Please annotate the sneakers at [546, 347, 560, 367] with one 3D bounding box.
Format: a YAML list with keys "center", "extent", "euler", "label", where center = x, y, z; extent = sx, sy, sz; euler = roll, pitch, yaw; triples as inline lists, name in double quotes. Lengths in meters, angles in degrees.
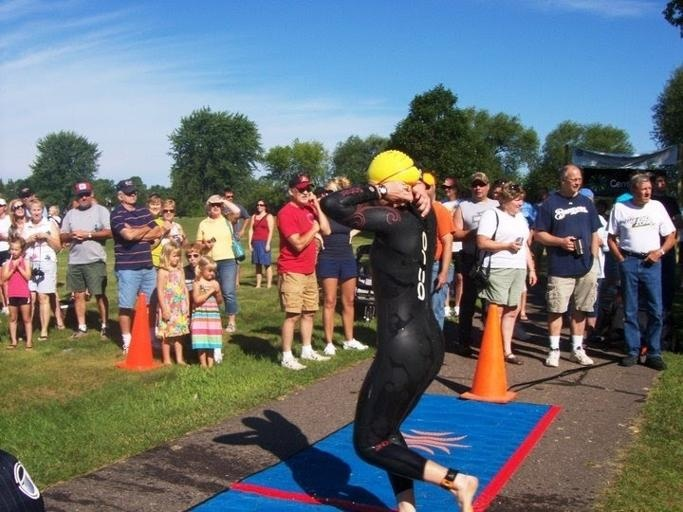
- center: [2.749, 1.297, 8.872]
  extent: [0.170, 0.224, 0.363]
  euler: [2, 9, 16]
  label: "sneakers"

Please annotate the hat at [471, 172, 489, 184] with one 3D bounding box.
- center: [1.970, -1.110, 9.778]
  extent: [0.196, 0.147, 0.283]
  euler: [-4, -9, 21]
  label: "hat"

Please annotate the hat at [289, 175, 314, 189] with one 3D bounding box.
- center: [-0.533, -0.942, 8.722]
  extent: [0.185, 0.142, 0.247]
  euler: [-4, 5, -34]
  label: "hat"

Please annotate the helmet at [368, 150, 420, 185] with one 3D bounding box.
- center: [0.402, -0.657, 5.176]
  extent: [0.352, 0.290, 0.257]
  euler: [2, -14, 1]
  label: "helmet"

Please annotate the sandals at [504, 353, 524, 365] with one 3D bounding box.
- center: [2.259, 1.347, 8.947]
  extent: [0.129, 0.085, 0.241]
  euler: [-2, 3, -42]
  label: "sandals"

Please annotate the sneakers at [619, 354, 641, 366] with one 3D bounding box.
- center: [3.709, 1.350, 8.802]
  extent: [0.115, 0.122, 0.319]
  euler: [-2, -6, 43]
  label: "sneakers"

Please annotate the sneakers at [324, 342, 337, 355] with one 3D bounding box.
- center: [-0.148, 1.284, 9.416]
  extent: [0.142, 0.182, 0.184]
  euler: [7, -11, -43]
  label: "sneakers"

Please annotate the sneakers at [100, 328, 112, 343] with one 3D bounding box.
- center: [-3.729, 1.238, 10.747]
  extent: [0.353, 0.215, 0.122]
  euler: [3, 3, 39]
  label: "sneakers"

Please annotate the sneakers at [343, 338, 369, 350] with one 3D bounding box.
- center: [0.189, 1.247, 9.665]
  extent: [0.295, 0.129, 0.147]
  euler: [-1, 1, -4]
  label: "sneakers"

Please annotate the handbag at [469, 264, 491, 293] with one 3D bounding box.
- center: [1.752, 0.316, 8.737]
  extent: [0.117, 0.221, 0.312]
  euler: [-3, -38, -21]
  label: "handbag"

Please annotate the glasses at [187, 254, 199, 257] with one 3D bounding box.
- center: [-2.061, -0.010, 9.471]
  extent: [0.146, 0.057, 0.069]
  euler: [-3, 9, -12]
  label: "glasses"

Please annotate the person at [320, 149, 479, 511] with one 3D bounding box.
- center: [0.418, 0.546, 5.038]
  extent: [0.967, 2.621, 1.023]
  euler: [-1, 9, -1]
  label: "person"

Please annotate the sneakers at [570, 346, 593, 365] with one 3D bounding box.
- center: [3.160, 1.314, 8.977]
  extent: [0.139, 0.171, 0.379]
  euler: [-16, -3, -10]
  label: "sneakers"

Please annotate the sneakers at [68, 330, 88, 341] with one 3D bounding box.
- center: [-4.175, 1.262, 10.765]
  extent: [0.302, 0.124, 0.103]
  euler: [0, 4, 14]
  label: "sneakers"

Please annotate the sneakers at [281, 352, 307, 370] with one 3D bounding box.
- center: [-0.631, 1.352, 8.760]
  extent: [0.377, 0.171, 0.155]
  euler: [0, 1, 26]
  label: "sneakers"

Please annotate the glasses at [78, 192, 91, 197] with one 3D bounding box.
- center: [-4.004, -0.958, 10.621]
  extent: [0.110, 0.076, 0.177]
  euler: [1, -5, -5]
  label: "glasses"

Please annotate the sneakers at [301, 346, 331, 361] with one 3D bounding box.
- center: [-0.387, 1.296, 9.084]
  extent: [0.477, 0.213, 0.157]
  euler: [-1, 6, -6]
  label: "sneakers"

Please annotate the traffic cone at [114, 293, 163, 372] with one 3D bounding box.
- center: [-2.759, 1.013, 9.158]
  extent: [0.534, 0.949, 0.735]
  euler: [-4, 9, -18]
  label: "traffic cone"

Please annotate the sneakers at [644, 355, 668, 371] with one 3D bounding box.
- center: [3.969, 1.345, 8.625]
  extent: [0.250, 0.140, 0.222]
  euler: [3, 10, 25]
  label: "sneakers"
